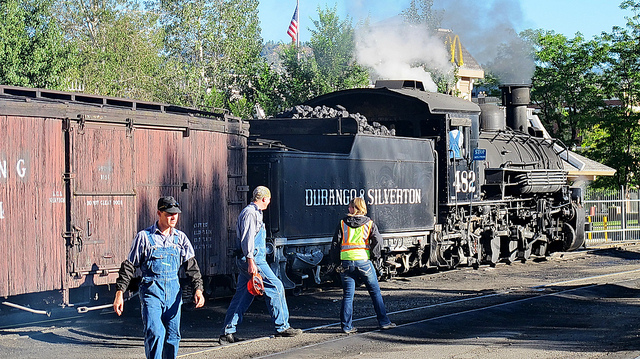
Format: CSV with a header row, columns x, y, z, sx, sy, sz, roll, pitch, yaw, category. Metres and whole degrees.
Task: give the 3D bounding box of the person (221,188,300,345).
x,y,z,sx,sy,sz,roll,pitch,yaw,category
-1.317,1.814,14.872,1.441,3.235,0.714,0,4,-3,person
